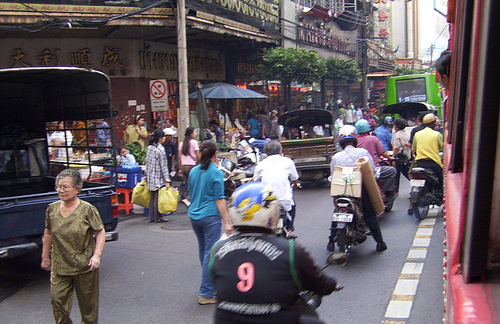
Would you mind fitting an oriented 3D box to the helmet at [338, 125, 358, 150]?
[{"bbox_3d":[1.739,-0.471,7.532,0.429,0.443,0.488,-2,-2,13],"label":"helmet"}]

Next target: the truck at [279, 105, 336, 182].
[{"bbox_3d":[1.830,-0.758,14.557,2.146,2.301,4.014,-5,10,3],"label":"truck"}]

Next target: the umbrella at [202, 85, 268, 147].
[{"bbox_3d":[-0.733,-2.189,17.753,3.170,2.454,3.051,1,2,3],"label":"umbrella"}]

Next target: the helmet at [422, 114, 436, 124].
[{"bbox_3d":[3.795,-0.908,8.873,0.269,0.149,0.170,-7,38,41],"label":"helmet"}]

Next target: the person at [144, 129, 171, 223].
[{"bbox_3d":[-2.181,0.494,9.717,0.572,1.818,0.453,-6,9,-9],"label":"person"}]

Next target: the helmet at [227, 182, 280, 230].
[{"bbox_3d":[0.006,0.286,2.913,0.367,0.287,0.268,-6,8,-19],"label":"helmet"}]

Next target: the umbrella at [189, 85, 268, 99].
[{"bbox_3d":[-0.850,-2.876,16.991,2.516,0.574,1.055,-10,10,-37],"label":"umbrella"}]

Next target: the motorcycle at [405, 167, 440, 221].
[{"bbox_3d":[3.695,0.659,8.855,0.982,1.082,0.394,-10,10,-36],"label":"motorcycle"}]
